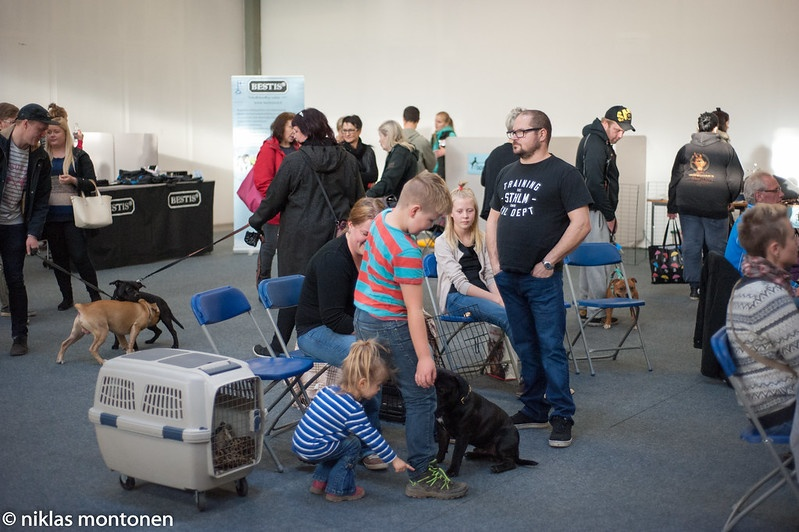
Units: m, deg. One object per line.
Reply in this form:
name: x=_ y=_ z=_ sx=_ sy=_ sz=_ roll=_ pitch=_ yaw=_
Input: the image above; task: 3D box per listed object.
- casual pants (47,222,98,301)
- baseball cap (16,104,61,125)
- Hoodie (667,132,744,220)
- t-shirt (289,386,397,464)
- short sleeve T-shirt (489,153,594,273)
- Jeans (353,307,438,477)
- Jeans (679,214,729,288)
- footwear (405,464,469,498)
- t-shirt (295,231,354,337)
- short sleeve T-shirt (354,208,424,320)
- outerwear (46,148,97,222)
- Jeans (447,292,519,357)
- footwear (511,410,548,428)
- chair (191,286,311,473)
casual pants: x=-3.706 y=-0.160 z=6.855 sx=0.273 sy=1.097 sz=0.289 roll=12 pitch=15 yaw=9
baseball cap: x=-3.206 y=-1.319 z=5.465 sx=0.291 sy=0.149 sz=0.205 roll=-5 pitch=8 yaw=-17
Hoodie: x=3.753 y=-1.096 z=7.548 sx=0.905 sy=1.029 sz=0.510 roll=7 pitch=19 yaw=40
t-shirt: x=-0.286 y=0.934 z=3.391 sx=0.521 sy=0.391 sz=0.570 roll=-9 pitch=-6 yaw=8
short sleeve T-shirt: x=0.892 y=-0.372 z=4.260 sx=0.442 sy=0.790 sz=0.814 roll=-8 pitch=10 yaw=-43
Jeans: x=-0.023 y=0.716 z=3.477 sx=0.456 sy=0.951 sz=0.237 roll=1 pitch=14 yaw=1
Jeans: x=3.722 y=-0.285 z=7.545 sx=0.514 sy=1.144 sz=0.329 roll=-1 pitch=5 yaw=28
footwear: x=0.218 y=1.233 z=3.631 sx=0.373 sy=0.216 sz=0.157 roll=0 pitch=1 yaw=3
t-shirt: x=-0.487 y=0.130 z=4.004 sx=0.406 sy=0.686 sz=0.712 roll=5 pitch=9 yaw=6
short sleeve T-shirt: x=-0.058 y=-0.010 z=3.363 sx=0.289 sy=0.480 sz=0.492 roll=-2 pitch=28 yaw=-33
outerwear: x=-3.620 y=-0.897 z=6.692 sx=0.655 sy=0.796 sz=0.431 roll=-1 pitch=0 yaw=15
Jeans: x=0.648 y=0.519 z=4.810 sx=0.371 sy=0.474 sz=0.688 roll=-9 pitch=-7 yaw=18
footwear: x=0.905 y=1.076 z=4.387 sx=0.301 sy=0.118 sz=0.112 roll=4 pitch=1 yaw=-6
chair: x=-0.914 y=0.663 z=4.056 sx=0.851 sy=1.003 sz=0.663 roll=7 pitch=10 yaw=38
